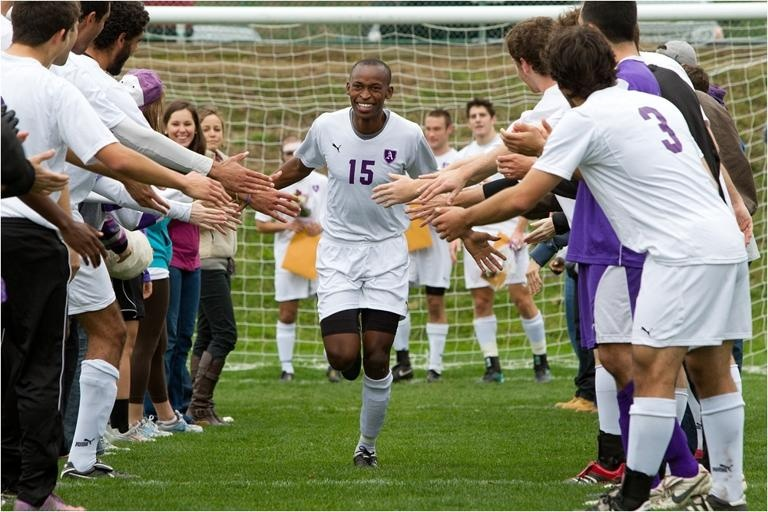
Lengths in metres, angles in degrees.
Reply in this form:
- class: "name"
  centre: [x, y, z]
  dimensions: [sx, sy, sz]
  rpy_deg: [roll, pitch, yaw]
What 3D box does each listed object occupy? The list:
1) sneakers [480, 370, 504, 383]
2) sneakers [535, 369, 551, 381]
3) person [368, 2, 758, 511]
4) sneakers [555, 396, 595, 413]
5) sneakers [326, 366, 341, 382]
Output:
- class: "sneakers"
  centre: [1.183, 1.304, 11.076]
  dimensions: [0.092, 0.106, 0.247]
  rpy_deg: [0, 3, -43]
- class: "sneakers"
  centre: [1.731, 1.302, 11.085]
  dimensions: [0.095, 0.155, 0.160]
  rpy_deg: [-7, -7, 37]
- class: "person"
  centre: [1.572, 0.088, 6.500]
  dimensions: [1.476, 3.182, 0.484]
  rpy_deg: [-3, -1, 11]
- class: "sneakers"
  centre: [1.806, 1.376, 9.458]
  dimensions: [0.244, 0.096, 0.144]
  rpy_deg: [8, -14, -16]
- class: "sneakers"
  centre: [-0.559, 1.319, 11.488]
  dimensions: [0.166, 0.189, 0.482]
  rpy_deg: [-2, -4, -7]
